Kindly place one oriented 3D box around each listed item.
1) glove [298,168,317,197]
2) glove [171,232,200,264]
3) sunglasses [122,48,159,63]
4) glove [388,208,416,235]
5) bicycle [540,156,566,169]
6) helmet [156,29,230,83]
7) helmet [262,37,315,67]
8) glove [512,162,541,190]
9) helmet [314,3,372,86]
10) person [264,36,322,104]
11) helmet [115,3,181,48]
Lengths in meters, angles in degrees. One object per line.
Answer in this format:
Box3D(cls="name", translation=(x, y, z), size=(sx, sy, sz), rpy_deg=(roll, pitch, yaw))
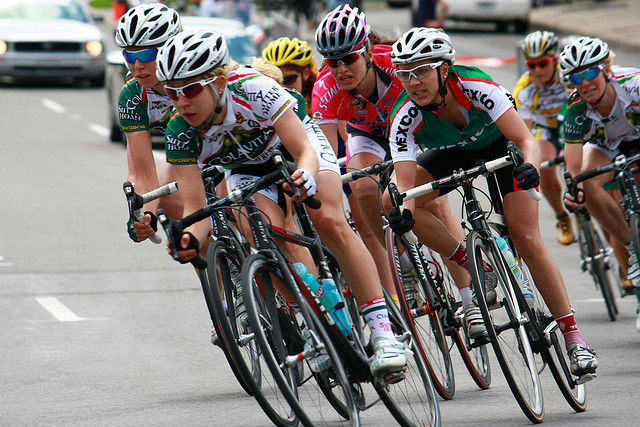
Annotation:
Box3D(cls="glove", translation=(-0.065, -0.213, 6.257), size=(0.053, 0.153, 0.116), rpy_deg=(-29, 7, 20))
Box3D(cls="glove", translation=(-0.930, 0.242, 6.290), size=(0.181, 0.234, 0.167), rpy_deg=(-1, 13, -7))
Box3D(cls="sunglasses", translation=(-1.524, -1.331, 7.659), size=(0.322, 0.125, 0.093), rpy_deg=(5, 14, 17))
Box3D(cls="glove", translation=(0.648, 0.069, 7.093), size=(0.169, 0.190, 0.204), rpy_deg=(-11, -15, 35))
Box3D(cls="bicycle", translation=(2.751, -0.595, 10.584), size=(0.317, 0.113, 0.307), rpy_deg=(-10, -1, -2))
Box3D(cls="helmet", translation=(-0.854, -1.140, 6.501), size=(0.401, 0.258, 0.538), rpy_deg=(8, 35, 32))
Box3D(cls="helmet", translation=(-0.286, -1.690, 9.246), size=(0.376, 0.206, 0.518), rpy_deg=(4, 13, 15))
Box3D(cls="glove", translation=(1.565, -0.277, 6.844), size=(0.189, 0.133, 0.255), rpy_deg=(-35, -4, 7))
Box3D(cls="helmet", translation=(0.269, -1.593, 8.021), size=(0.392, 0.276, 0.532), rpy_deg=(-1, 36, 28))
Box3D(cls="person", translation=(-0.266, -1.460, 9.054), size=(0.611, 0.733, 0.790), rpy_deg=(7, 4, 10))
Box3D(cls="helmet", translation=(-1.435, -1.581, 7.762), size=(0.372, 0.190, 0.504), rpy_deg=(12, 33, 22))
